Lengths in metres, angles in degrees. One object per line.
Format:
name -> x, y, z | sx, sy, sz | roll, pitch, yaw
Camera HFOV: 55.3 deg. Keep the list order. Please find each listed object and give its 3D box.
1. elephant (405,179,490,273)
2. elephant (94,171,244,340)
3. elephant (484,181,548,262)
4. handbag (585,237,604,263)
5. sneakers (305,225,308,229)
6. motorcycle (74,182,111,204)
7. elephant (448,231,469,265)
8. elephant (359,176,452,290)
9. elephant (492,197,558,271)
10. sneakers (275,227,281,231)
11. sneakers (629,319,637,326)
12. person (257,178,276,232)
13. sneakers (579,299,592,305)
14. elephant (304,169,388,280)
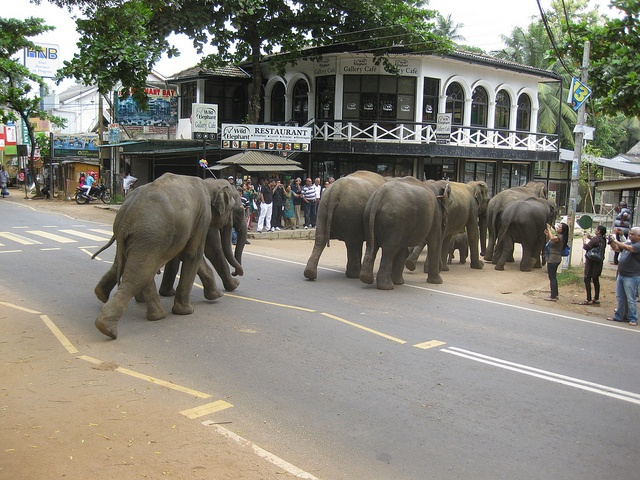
elephant -> 3.724, -0.395, 17.937 | 4.133, 2.638, 1.292 | -4, 1, -39
elephant -> -2.748, 0.140, 11.448 | 1.348, 2.661, 3.883 | 13, 13, 25
elephant -> 6.413, -0.494, 19.791 | 1.602, 2.540, 4.328 | 0, -4, -4
handbag -> 6.233, 0.235, 13.887 | 0.294, 0.599, 0.424 | -10, 16, -30
sneakers -> -0.589, -0.518, 24.995 | 0.145, 0.206, 0.444 | -1, -1, 0
motorcycle -> -12.968, -2.604, 34.786 | 1.694, 1.120, 0.988 | -3, 12, -18
elephant -> 4.313, 0.237, 18.952 | 0.485, 0.664, 1.097 | 5, 14, 15
elephant -> 2.371, -0.200, 15.534 | 1.489, 2.708, 3.489 | 7, 5, 43
elephant -> 6.135, -0.157, 18.485 | 1.381, 2.124, 2.129 | 7, 14, 19
sneakers -> -1.663, -0.433, 23.887 | 0.102, 0.118, 0.282 | -4, 4, -43
sneakers -> 6.474, 1.706, 12.663 | 0.095, 0.074, 0.276 | -1, -7, 44
person -> -2.116, -1.209, 23.284 | 0.510, 1.840, 0.751 | 1, 13, -9
sneakers -> 6.193, 1.453, 14.245 | 0.300, 0.125, 0.105 | 3, 10, 15
elephant -> 1.099, -0.470, 16.399 | 1.486, 2.807, 4.575 | 9, 6, 32
